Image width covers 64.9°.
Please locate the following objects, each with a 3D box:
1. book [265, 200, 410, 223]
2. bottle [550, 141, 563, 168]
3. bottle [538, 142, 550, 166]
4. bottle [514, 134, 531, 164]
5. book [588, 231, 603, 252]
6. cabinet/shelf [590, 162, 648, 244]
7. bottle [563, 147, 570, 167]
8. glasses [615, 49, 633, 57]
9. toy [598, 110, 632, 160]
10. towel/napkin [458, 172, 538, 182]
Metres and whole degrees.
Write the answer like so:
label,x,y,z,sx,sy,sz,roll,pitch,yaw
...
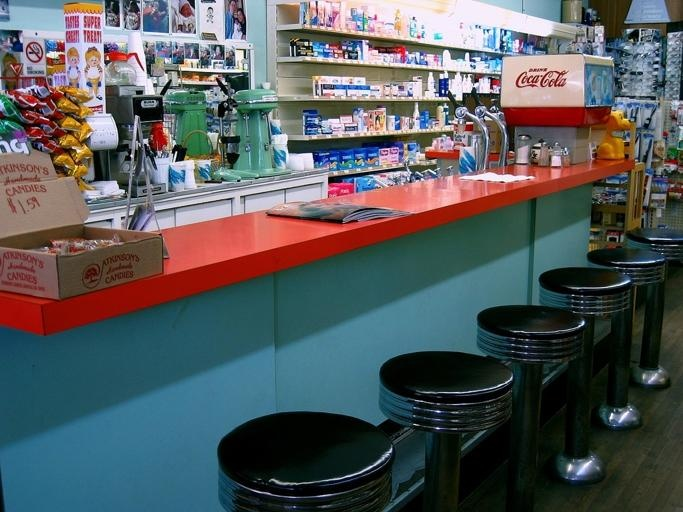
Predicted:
label,x,y,z,sx,sy,sz,roll,pitch,yaw
book,-0.026,-0.181,2.160,0.544,0.043,0.298,7,16,28
bottle,1.559,-0.731,3.889,0.091,0.159,0.342,4,15,21
bottle,1.472,-0.729,3.899,0.078,0.150,0.115,3,14,19
bottle,1.365,-0.794,4.035,0.112,0.202,0.277,3,14,18
book,2.417,-0.147,5.102,0.086,0.171,0.155,-11,6,12
cabinet/shelf,2.648,-0.447,5.194,0.438,0.900,0.667,6,15,29
bottle,1.640,-0.718,3.913,0.048,0.120,0.263,4,15,22
glasses,4.391,-3.142,8.327,0.093,0.124,0.285,-1,14,2
toy,2.264,-0.995,4.442,0.244,0.377,0.564,7,16,31
towel/napkin,0.927,-0.466,3.206,0.405,0.017,0.404,9,17,34
